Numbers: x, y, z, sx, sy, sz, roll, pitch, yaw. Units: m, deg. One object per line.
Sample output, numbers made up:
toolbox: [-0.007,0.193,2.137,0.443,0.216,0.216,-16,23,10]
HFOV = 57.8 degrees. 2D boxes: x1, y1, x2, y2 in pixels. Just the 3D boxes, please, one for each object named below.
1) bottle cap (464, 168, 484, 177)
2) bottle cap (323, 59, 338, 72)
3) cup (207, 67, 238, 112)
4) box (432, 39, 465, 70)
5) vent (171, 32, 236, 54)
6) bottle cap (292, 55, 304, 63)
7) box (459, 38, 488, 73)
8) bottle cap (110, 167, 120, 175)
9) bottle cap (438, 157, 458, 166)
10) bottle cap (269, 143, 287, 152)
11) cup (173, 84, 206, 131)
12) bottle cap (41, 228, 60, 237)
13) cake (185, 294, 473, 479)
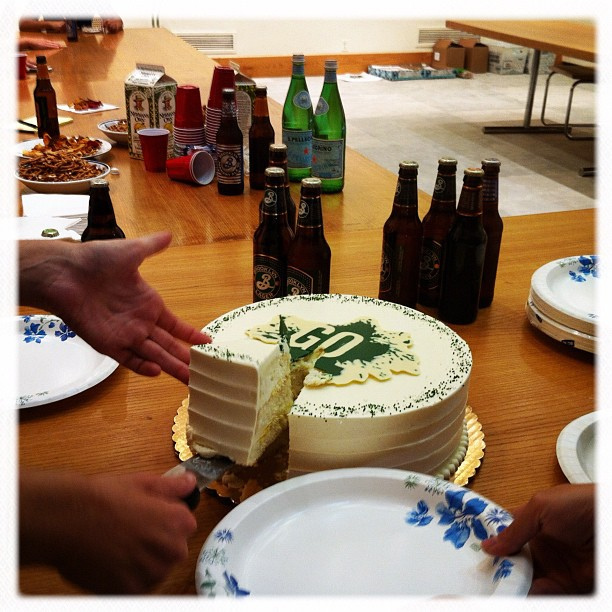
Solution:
bottle cap: [0.303,-0.242,0.996,0.030,0.007,0.029,-20,32,-35]
bottle cap: [0.075,-0.742,1.712,0.036,0.039,0.071,1,19,2]
cup: [-0.304,-0.765,1.954,0.121,0.129,0.128,11,31,-7]
box: [2.304,-4.041,8.940,0.425,0.449,0.669,-16,35,-18]
vent: [-1.502,-3.992,8.429,0.874,0.306,0.140,-3,21,-10]
bottle cap: [-0.026,-0.778,1.750,0.037,0.015,0.032,0,25,0]
box: [2.651,-3.934,8.779,0.390,0.559,0.619,0,33,3]
bottle cap: [-0.689,-0.481,1.981,0.036,0.018,0.034,10,21,29]
bottle cap: [0.265,-0.269,1.036,0.030,0.013,0.028,4,19,10]
bottle cap: [-0.060,-0.305,1.108,0.043,0.008,0.037,3,24,1]
cup: [-0.440,-0.714,2.006,0.145,0.139,0.137,6,29,-3]
bottle cap: [-0.656,-0.186,1.396,0.032,0.009,0.028,8,20,3]
cake: [0.038,0.114,0.866,0.431,0.180,0.379,5,19,15]
